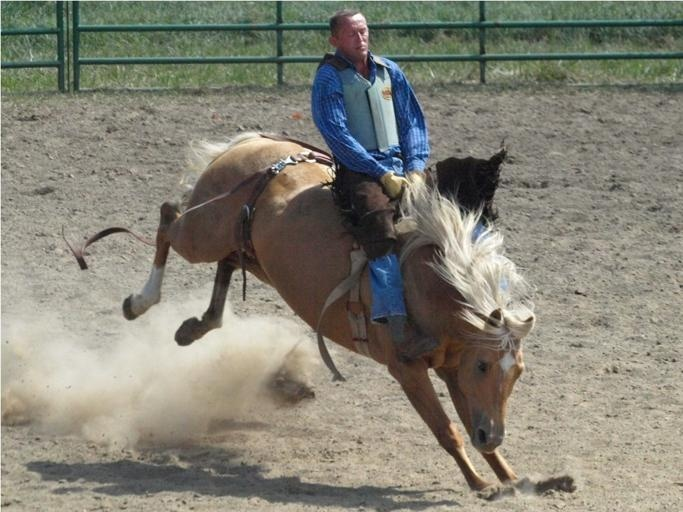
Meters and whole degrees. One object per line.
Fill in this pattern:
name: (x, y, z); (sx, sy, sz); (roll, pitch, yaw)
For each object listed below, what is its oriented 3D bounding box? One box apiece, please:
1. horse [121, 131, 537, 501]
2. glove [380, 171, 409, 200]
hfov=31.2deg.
horse: (0.044, 0.406, 10.874); (3.459, 2.593, 0.772); (10, 18, 28)
glove: (0.442, -0.623, 10.539); (0.190, 0.203, 0.231); (-4, 1, -45)
